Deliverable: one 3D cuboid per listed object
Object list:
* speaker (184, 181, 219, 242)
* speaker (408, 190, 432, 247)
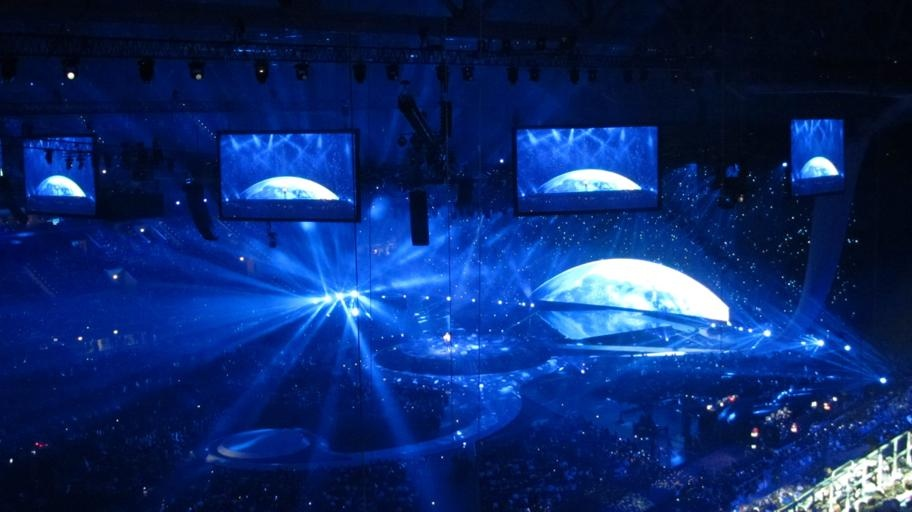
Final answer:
[{"bbox_3d":[-5.484,-0.946,17.085,0.531,1.253,1.183,-4,-11,-16],"label":"speaker"},{"bbox_3d":[-0.736,-0.802,15.977,0.346,1.118,0.497,-5,-11,-10],"label":"speaker"}]
